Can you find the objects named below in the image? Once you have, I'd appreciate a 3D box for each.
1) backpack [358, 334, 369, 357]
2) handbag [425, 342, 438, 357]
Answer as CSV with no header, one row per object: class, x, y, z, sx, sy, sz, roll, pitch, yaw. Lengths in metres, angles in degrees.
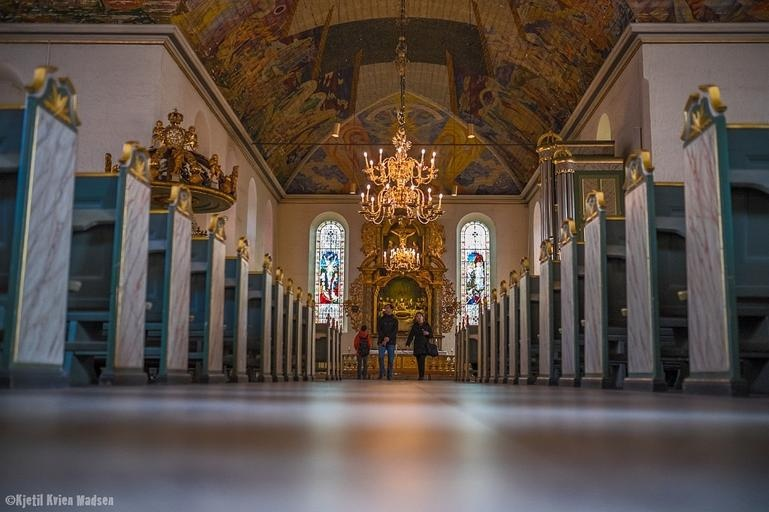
backpack,-0.573,2.447,16.816,0.232,0.566,0.210,0,-16,1
handbag,1.181,2.295,15.125,0.243,0.347,0.569,0,-16,1
